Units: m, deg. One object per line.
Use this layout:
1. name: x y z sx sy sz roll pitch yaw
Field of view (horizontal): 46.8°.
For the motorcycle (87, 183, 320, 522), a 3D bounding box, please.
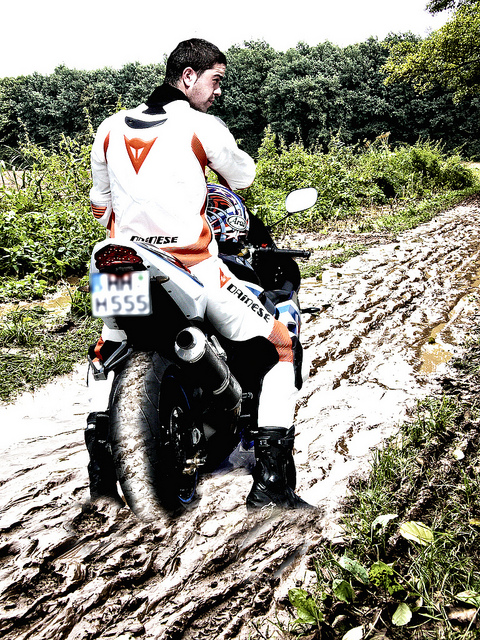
1. motorcycle: -0.238 0.093 2.901 1.006 1.184 1.961 -2 5 19
